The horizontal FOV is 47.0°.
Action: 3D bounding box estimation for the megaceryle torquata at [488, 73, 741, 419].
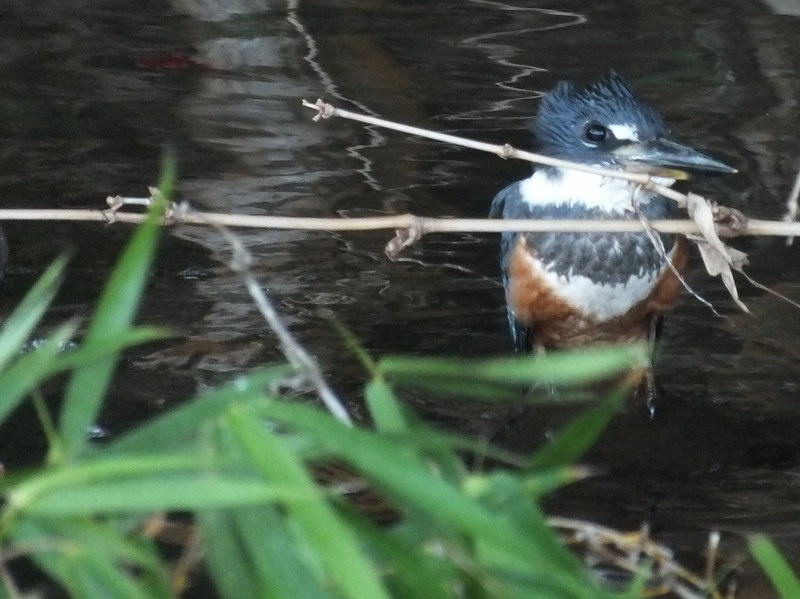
[{"bbox_3d":[0.542,-0.143,2.539,0.550,0.975,0.624,7,37,5],"label":"megaceryle torquata"}]
